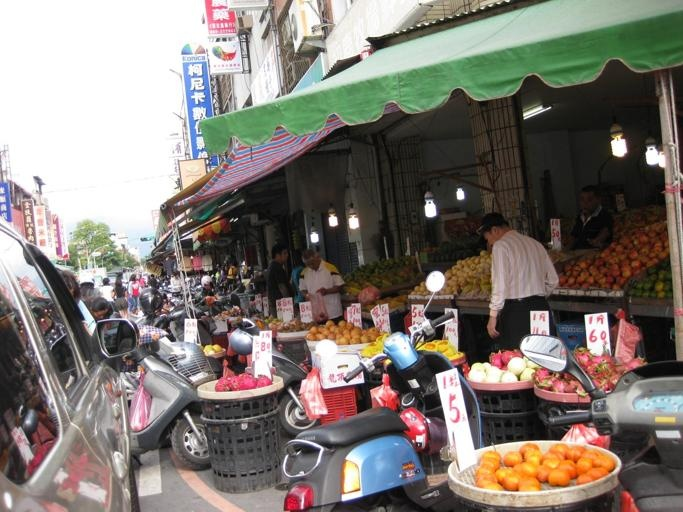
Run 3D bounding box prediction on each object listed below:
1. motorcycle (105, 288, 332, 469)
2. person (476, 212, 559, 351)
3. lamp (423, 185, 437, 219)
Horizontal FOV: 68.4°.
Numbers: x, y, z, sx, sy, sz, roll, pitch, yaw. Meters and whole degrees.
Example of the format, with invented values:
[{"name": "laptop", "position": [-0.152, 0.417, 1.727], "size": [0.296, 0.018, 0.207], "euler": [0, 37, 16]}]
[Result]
[{"name": "motorcycle", "position": [-1.743, 1.410, 5.963], "size": [2.508, 2.085, 1.444], "euler": [-7, 13, -31]}, {"name": "person", "position": [1.884, 0.260, 5.379], "size": [0.840, 1.969, 0.716], "euler": [-2, 1, 32]}, {"name": "lamp", "position": [1.849, -1.086, 10.562], "size": [0.222, 0.558, 0.654], "euler": [-5, 6, 9]}]
